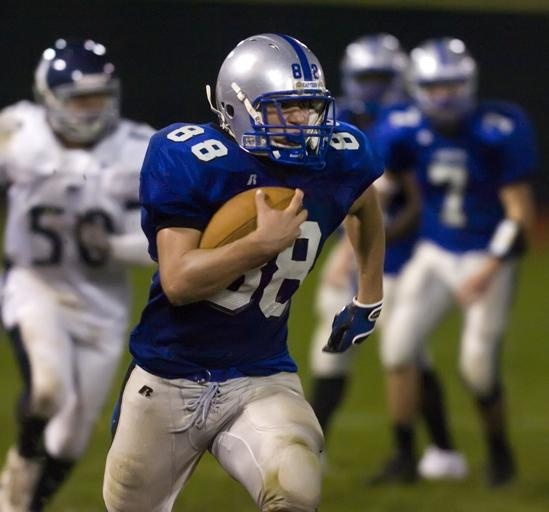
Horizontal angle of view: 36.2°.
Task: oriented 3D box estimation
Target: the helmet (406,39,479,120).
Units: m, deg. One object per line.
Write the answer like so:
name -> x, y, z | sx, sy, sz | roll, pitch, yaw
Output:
helmet -> 0.825, -0.835, 4.193 | 0.315, 0.366, 0.420 | -6, 65, 6

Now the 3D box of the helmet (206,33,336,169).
helmet -> 0.010, -0.420, 2.230 | 0.278, 0.287, 0.362 | -19, 36, -39

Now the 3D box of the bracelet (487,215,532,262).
bracelet -> 0.977, -0.065, 3.488 | 0.136, 0.183, 0.068 | 24, 13, -3

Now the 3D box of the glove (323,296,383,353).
glove -> 0.207, 0.221, 2.502 | 0.114, 0.245, 0.089 | -24, 70, -34
